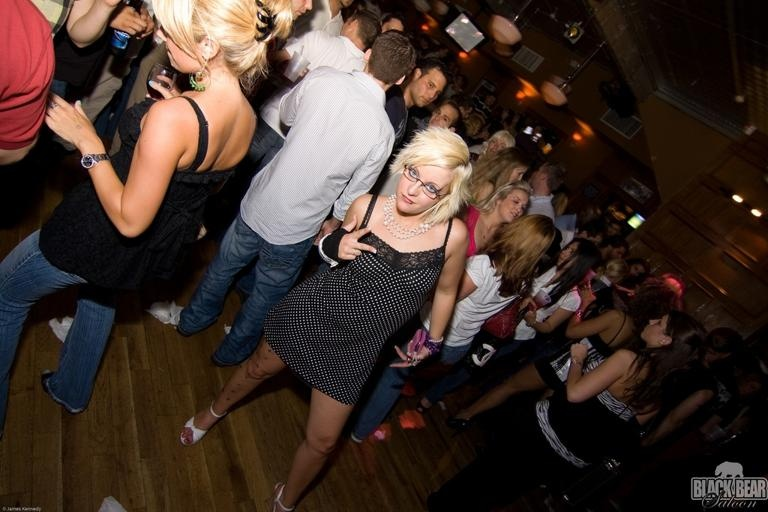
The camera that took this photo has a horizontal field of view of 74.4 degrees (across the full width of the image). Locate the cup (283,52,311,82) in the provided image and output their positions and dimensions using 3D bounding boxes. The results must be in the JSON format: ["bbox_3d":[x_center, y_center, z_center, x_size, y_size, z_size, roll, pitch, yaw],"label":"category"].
[{"bbox_3d":[-0.625,-1.348,3.723,0.182,0.193,0.178,38,17,-13],"label":"cup"}]

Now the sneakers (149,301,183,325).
[{"bbox_3d":[-1.660,0.428,3.861,0.172,0.196,0.088,36,56,-61],"label":"sneakers"}]

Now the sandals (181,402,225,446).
[{"bbox_3d":[-1.226,1.142,3.474,0.242,0.335,0.154,22,28,-32],"label":"sandals"}]

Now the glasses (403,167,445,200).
[{"bbox_3d":[0.236,-0.426,2.979,0.266,0.102,0.068,38,24,-9],"label":"glasses"}]

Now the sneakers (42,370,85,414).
[{"bbox_3d":[-2.059,0.849,3.304,0.301,0.118,0.219,49,-6,-32],"label":"sneakers"}]

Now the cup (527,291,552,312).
[{"bbox_3d":[1.340,0.384,4.367,0.114,0.190,0.106,25,43,-26],"label":"cup"}]

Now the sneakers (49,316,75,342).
[{"bbox_3d":[-2.259,0.491,3.514,0.125,0.094,0.169,21,32,-34],"label":"sneakers"}]
